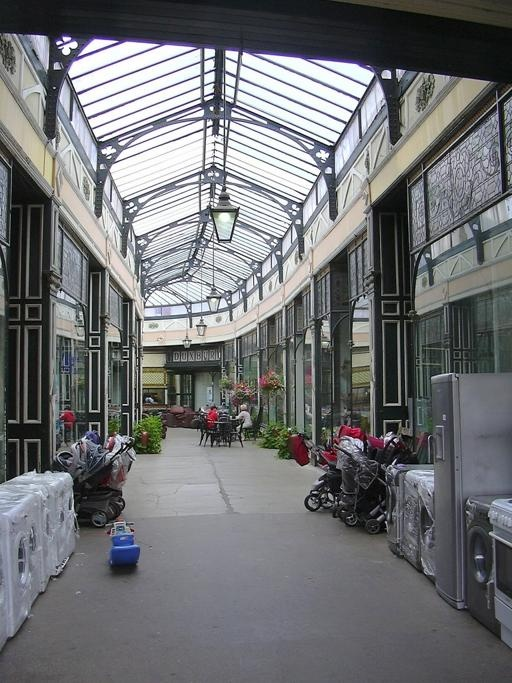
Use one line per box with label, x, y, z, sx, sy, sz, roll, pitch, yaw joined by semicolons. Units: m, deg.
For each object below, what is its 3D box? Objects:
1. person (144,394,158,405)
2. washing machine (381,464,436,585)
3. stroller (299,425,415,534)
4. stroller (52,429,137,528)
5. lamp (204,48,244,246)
person;-7.481;4.151;36.695;0.758;0.420;1.022;26;-4;-38
washing machine;1.303;1.564;4.455;0.517;0.785;0.970;1;-9;1
stroller;1.177;1.604;6.312;1.103;0.941;1.103;-1;-7;-4
stroller;-1.868;1.676;6.325;1.013;1.226;0.893;2;-4;0
lamp;-0.689;-3.600;9.108;0.457;3.543;0.569;-4;-8;-15
